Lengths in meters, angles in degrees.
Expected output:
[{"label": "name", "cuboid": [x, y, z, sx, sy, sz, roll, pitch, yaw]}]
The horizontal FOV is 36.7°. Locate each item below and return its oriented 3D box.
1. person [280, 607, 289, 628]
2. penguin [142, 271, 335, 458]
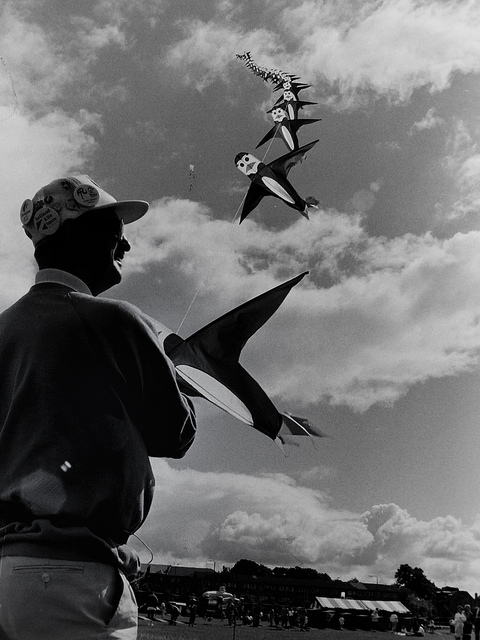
[{"label": "person", "cuboid": [2.298, 15.547, 37.718, 0.416, 0.902, 1.644, 3, -17, 5]}, {"label": "penguin", "cuboid": [0.147, 0.556, 6.903, 1.128, 1.067, 3.349, 1, -17, 12]}]
